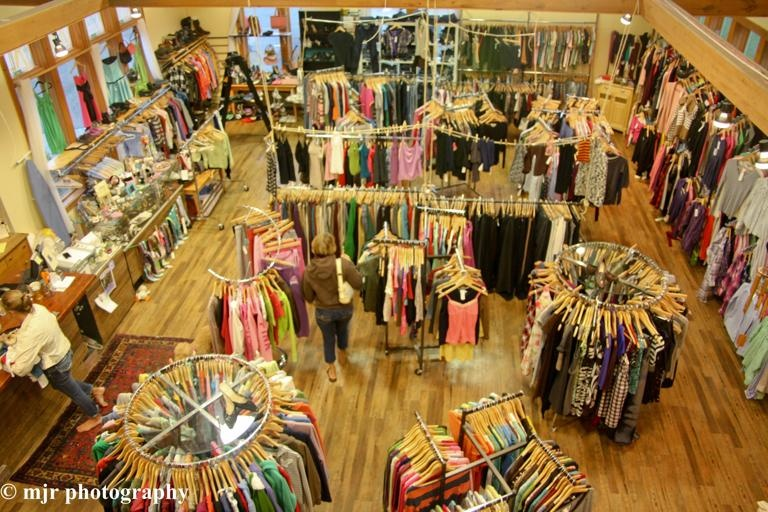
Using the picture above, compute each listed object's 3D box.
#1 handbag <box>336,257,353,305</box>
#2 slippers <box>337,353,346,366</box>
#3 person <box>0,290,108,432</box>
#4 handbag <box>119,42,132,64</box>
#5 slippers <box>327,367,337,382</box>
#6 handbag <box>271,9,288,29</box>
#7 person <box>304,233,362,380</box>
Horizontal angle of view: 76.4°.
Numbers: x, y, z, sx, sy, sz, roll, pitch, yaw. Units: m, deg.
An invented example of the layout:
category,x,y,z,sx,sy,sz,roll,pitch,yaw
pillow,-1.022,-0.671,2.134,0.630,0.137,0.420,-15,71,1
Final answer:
category,x,y,z,sx,sy,sz,roll,pitch,yaw
handbag,-0.513,0.301,6.115,0.203,0.518,0.401,-6,22,3
slippers,-0.611,1.473,6.959,0.113,0.188,0.113,7,40,19
person,-4.075,1.317,5.908,0.675,1.895,0.550,-12,33,-18
handbag,-5.724,-4.437,10.749,0.249,0.455,0.209,-13,4,-15
slippers,-0.722,1.633,6.742,0.108,0.217,0.068,-7,-10,-11
handbag,-2.762,-6.197,12.802,0.350,0.519,0.503,2,32,5
person,-0.674,0.702,6.432,0.744,2.069,0.473,-8,32,-12
